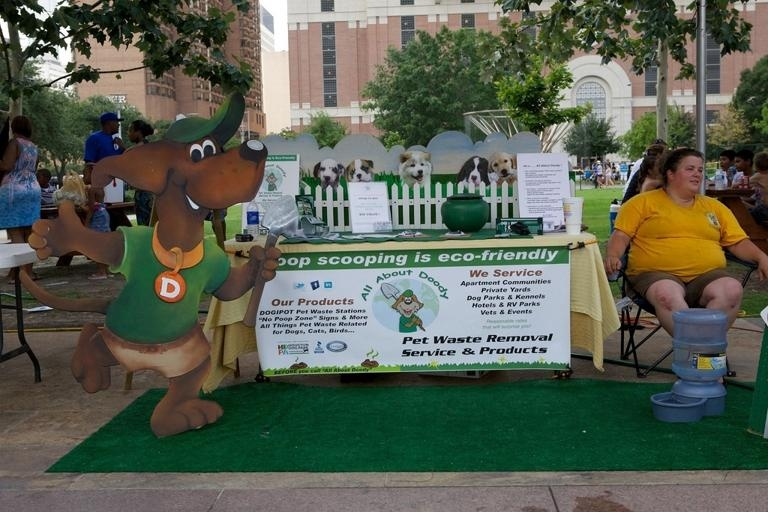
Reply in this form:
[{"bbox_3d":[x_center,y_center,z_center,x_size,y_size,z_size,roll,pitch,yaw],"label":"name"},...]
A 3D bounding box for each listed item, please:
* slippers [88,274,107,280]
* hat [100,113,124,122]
[{"bbox_3d":[-4.838,0.364,13.137,0.238,0.086,0.124,4,-4,-27],"label":"slippers"},{"bbox_3d":[-4.313,-2.212,12.292,0.357,0.139,0.241,1,10,-31],"label":"hat"}]
